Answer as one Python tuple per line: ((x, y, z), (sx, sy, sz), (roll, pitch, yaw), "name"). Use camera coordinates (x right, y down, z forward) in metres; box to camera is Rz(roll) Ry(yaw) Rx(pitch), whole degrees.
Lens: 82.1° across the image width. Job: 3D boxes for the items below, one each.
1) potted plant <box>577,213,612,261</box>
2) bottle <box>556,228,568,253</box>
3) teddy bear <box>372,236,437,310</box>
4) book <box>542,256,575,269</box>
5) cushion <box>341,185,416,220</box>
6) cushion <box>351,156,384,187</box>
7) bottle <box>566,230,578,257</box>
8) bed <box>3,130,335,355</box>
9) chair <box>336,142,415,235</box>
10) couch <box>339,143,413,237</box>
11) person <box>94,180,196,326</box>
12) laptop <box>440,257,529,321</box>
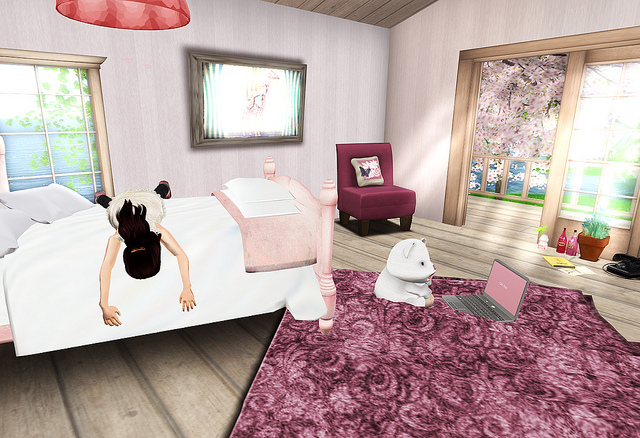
((3.342, 0.226, 4.446), (0.303, 0.531, 0.222), (16, 24, 39), "potted plant")
((3.135, 0.275, 4.689), (0.104, 0.294, 0.197), (13, 22, 33), "bottle")
((0.799, 0.511, 3.393), (0.582, 0.696, 0.460), (11, 19, 27), "teddy bear")
((2.871, 0.506, 4.362), (0.301, 0.045, 0.282), (5, 18, 14), "book")
((0.873, -0.210, 5.282), (1.043, 0.381, 0.472), (-1, 18, -5), "cushion")
((0.720, -0.697, 5.478), (0.463, 0.430, 0.135), (-3, -13, -30), "cushion")
((3.181, 0.337, 4.583), (0.107, 0.234, 0.108), (0, 19, 0), "bottle")
((-1.198, 0.214, 2.902), (2.079, 1.327, 1.362), (-8, 19, -26), "bed")
((0.796, -0.469, 5.454), (0.952, 1.177, 0.860), (-7, 20, -22), "chair")
((0.836, -0.447, 5.483), (1.063, 1.227, 1.030), (-12, 18, -35), "couch")
((-1.358, 0.084, 2.678), (0.664, 0.511, 1.263), (-11, 51, -21), "person")
((1.442, 0.634, 3.296), (0.570, 0.394, 0.556), (0, 13, -6), "laptop")
